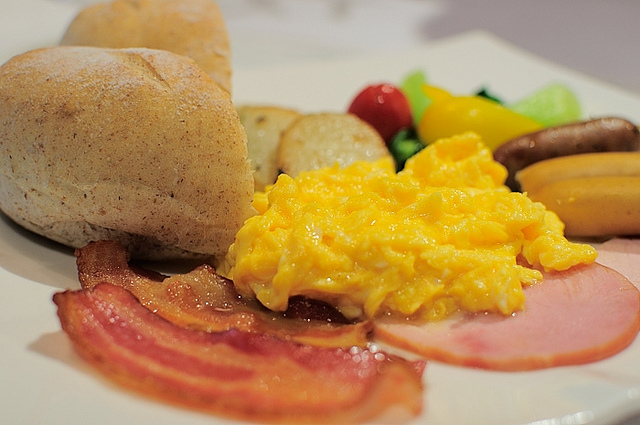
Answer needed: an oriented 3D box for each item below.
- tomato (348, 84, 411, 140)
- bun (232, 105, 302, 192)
[{"bbox_3d":[0.245,-0.405,2.804,0.230,0.299,0.227,-17,86,-4],"label":"tomato"},{"bbox_3d":[-0.219,-0.253,2.697,0.327,0.092,0.316,5,56,-14],"label":"bun"}]
